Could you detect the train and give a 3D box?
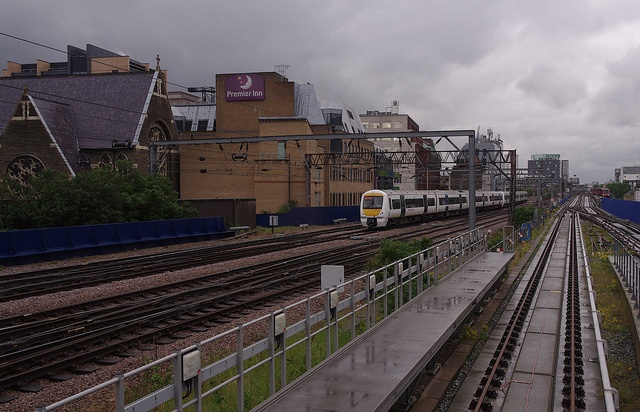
[{"bbox_3d":[13.651,0.032,60.766,2.504,2.711,33.637,-21,-9,29],"label":"train"}]
